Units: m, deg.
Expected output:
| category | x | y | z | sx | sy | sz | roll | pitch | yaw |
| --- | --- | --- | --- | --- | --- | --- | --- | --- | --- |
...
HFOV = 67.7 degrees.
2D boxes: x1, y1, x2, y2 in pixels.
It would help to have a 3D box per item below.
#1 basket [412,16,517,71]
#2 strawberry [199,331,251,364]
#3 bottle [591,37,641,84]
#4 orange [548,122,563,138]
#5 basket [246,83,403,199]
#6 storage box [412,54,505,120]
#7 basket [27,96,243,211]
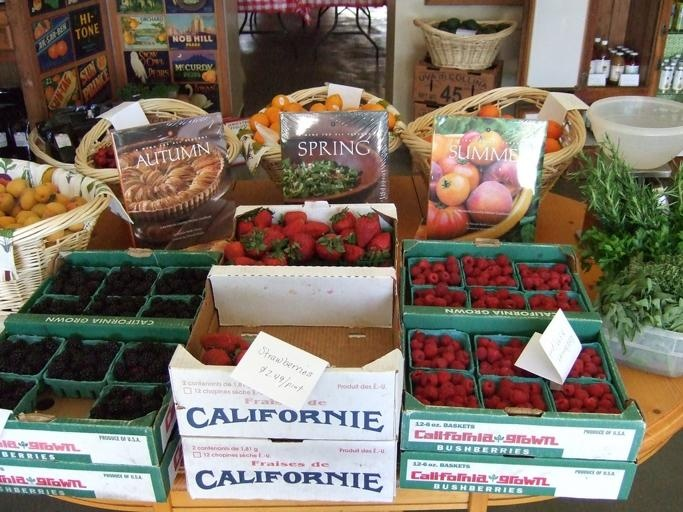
| category | x | y | z | sx | sy | sz | roll | pitch | yaw |
| --- | --- | --- | --- | --- | --- | --- | --- | --- | --- |
| basket | 1.104 | -1.869 | 4.496 | 0.872 | 0.394 | 0.705 | -19 | 34 | -30 |
| strawberry | -0.325 | 0.245 | 1.397 | 0.102 | 0.039 | 0.101 | 10 | 18 | 6 |
| bottle | 2.390 | -1.674 | 4.497 | 0.421 | 0.384 | 0.416 | 9 | 40 | 23 |
| orange | 0.938 | -0.551 | 2.241 | 0.056 | 0.064 | 0.075 | 9 | 30 | 18 |
| basket | -0.066 | -0.504 | 2.551 | 0.665 | 0.228 | 0.652 | -6 | 47 | -4 |
| storage box | 0.973 | -1.539 | 4.356 | 0.813 | 0.546 | 0.787 | 1 | 29 | 4 |
| basket | -1.079 | -0.420 | 2.641 | 0.774 | 0.230 | 0.724 | -18 | 47 | -28 |
